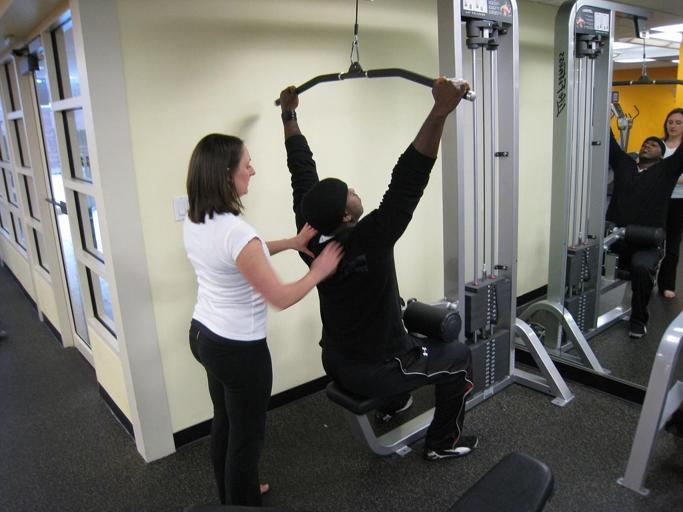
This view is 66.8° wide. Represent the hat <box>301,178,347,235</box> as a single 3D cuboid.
[{"bbox_3d":[-0.071,-0.241,2.460,0.183,0.274,0.202,18,19,40],"label":"hat"}]

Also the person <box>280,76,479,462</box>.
[{"bbox_3d":[0.235,0.130,2.963,0.840,2.165,1.238,-24,24,-37],"label":"person"}]

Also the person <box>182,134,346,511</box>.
[{"bbox_3d":[-0.413,0.433,2.663,0.691,2.066,0.478,-9,17,-19],"label":"person"}]

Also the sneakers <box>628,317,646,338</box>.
[{"bbox_3d":[2.036,0.492,3.568,0.067,0.056,0.135,1,23,29],"label":"sneakers"}]

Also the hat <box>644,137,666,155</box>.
[{"bbox_3d":[1.902,-0.670,3.163,0.102,0.044,0.087,26,26,28],"label":"hat"}]

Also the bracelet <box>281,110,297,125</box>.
[{"bbox_3d":[-0.296,-0.793,2.963,0.067,0.052,0.070,-5,7,-13],"label":"bracelet"}]
